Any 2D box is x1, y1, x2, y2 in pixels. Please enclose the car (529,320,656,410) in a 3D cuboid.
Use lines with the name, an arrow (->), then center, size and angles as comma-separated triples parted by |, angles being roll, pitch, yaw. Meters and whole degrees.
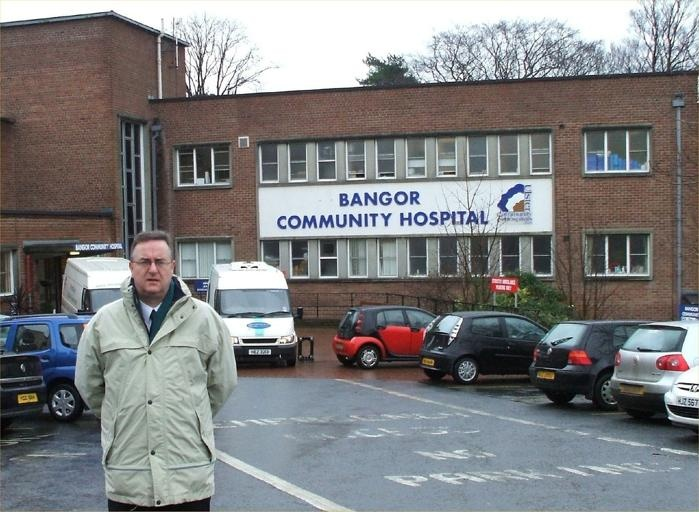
car -> 5.061, 2.091, 17.887 | 2.425, 1.055, 1.329 | -3, 1, -20

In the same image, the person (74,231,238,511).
person -> -1.732, 1.046, 7.702 | 1.373, 2.528, 0.531 | -3, 1, -16
